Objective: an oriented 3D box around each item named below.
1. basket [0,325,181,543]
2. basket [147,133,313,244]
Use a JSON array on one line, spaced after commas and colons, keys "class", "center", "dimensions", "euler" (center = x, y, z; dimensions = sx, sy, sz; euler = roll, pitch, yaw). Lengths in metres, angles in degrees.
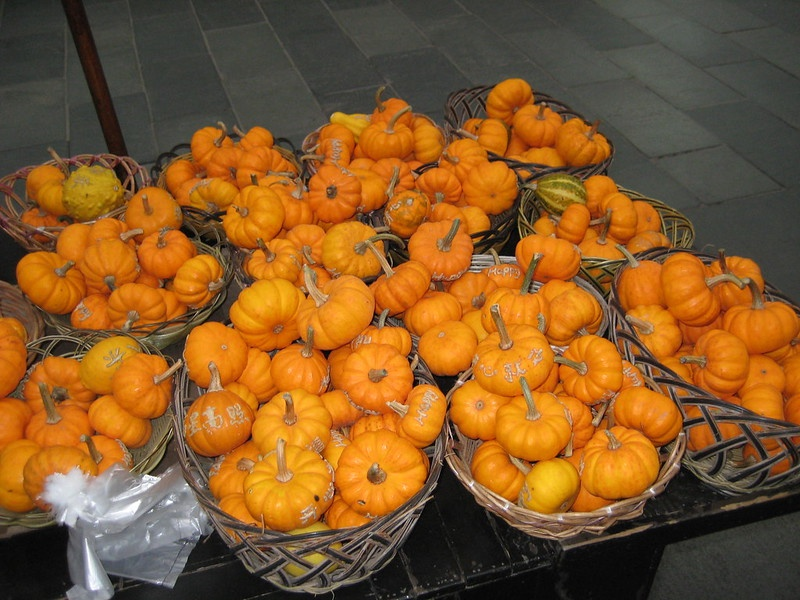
[{"class": "basket", "center": [-1.869, 0.653, 3.943], "dimensions": [1.032, 0.389, 1.235], "euler": [-17, 55, -13]}, {"class": "basket", "center": [-1.207, -0.892, 4.913], "dimensions": [1.101, 0.540, 1.000], "euler": [-13, 60, -15]}]
